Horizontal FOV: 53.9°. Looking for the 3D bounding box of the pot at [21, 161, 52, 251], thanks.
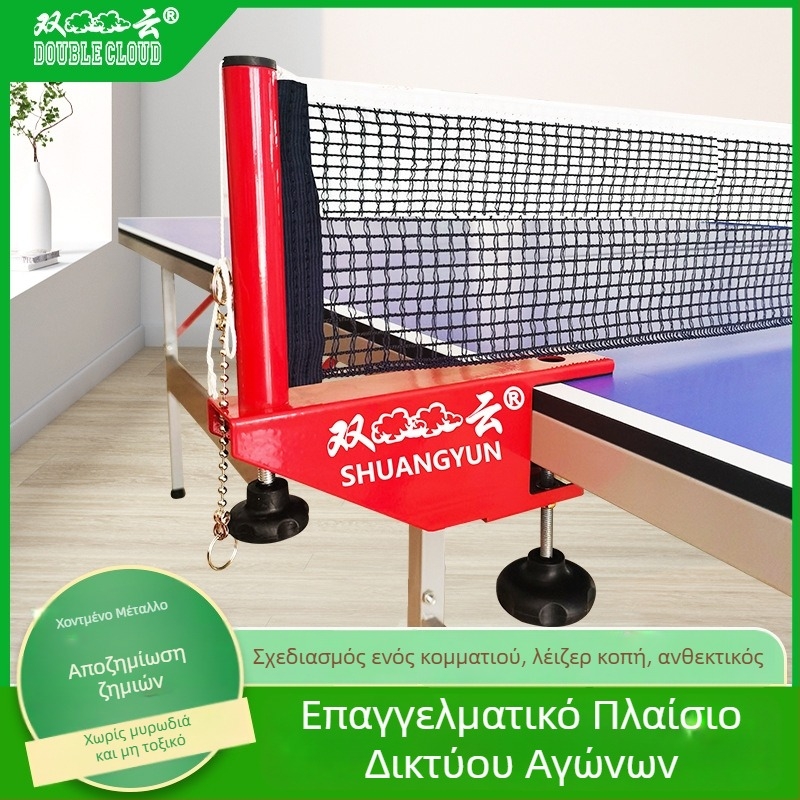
[{"bbox_3d":[-1.451,-0.761,3.088,0.131,0.338,0.087,-10,15,-24],"label":"pot"}]
